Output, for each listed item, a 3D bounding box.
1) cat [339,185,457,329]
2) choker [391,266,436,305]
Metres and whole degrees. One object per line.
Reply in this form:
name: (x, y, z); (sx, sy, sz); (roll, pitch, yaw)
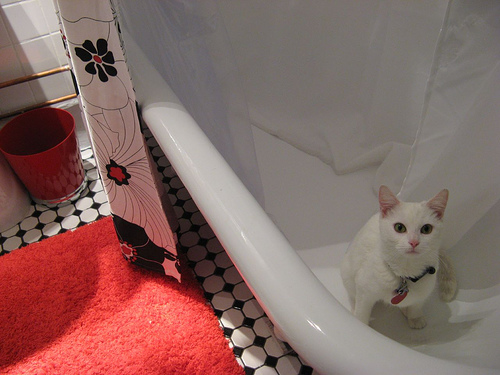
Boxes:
cat: (0.358, 0.141, 0.851); (0.248, 0.338, 0.365); (-1, 12, 12)
choker: (0.335, 0.199, 0.733); (0.019, 0.089, 0.028); (28, 10, -20)
